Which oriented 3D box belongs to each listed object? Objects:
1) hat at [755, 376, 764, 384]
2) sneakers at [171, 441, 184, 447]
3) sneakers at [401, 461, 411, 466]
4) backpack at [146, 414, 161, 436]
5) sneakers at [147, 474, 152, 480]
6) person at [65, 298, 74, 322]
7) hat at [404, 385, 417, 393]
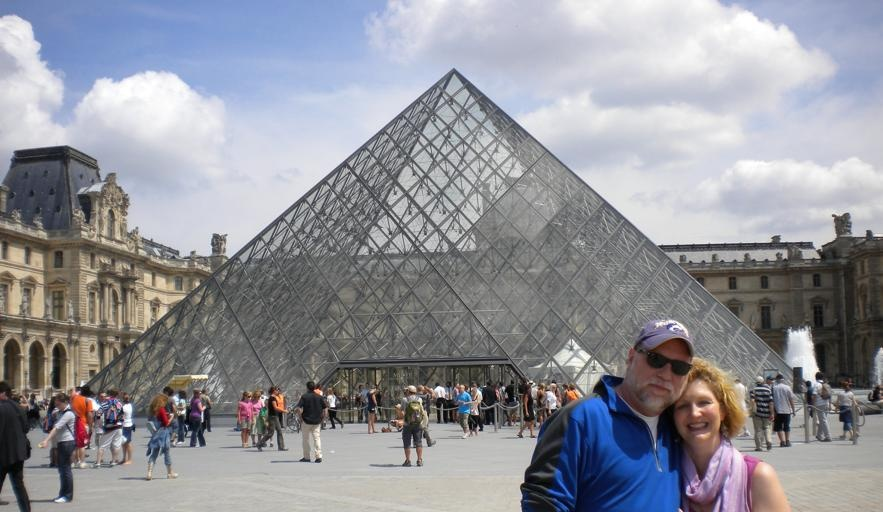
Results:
[{"bbox_3d":[14.743,5.799,55.435,0.442,0.328,0.585,1,4,17],"label":"hat"},{"bbox_3d":[-13.030,9.183,58.306,0.692,0.277,0.252,-11,-14,32],"label":"sneakers"},{"bbox_3d":[-1.649,9.141,52.609,0.350,0.204,0.200,-1,-9,34],"label":"sneakers"},{"bbox_3d":[-12.593,7.322,51.909,0.254,0.812,0.589,5,-32,-45],"label":"backpack"},{"bbox_3d":[-12.714,9.476,51.177,0.210,0.225,0.232,-1,-5,15],"label":"sneakers"},{"bbox_3d":[-32.547,4.645,103.576,0.601,2.010,0.598,2,-16,-18],"label":"person"},{"bbox_3d":[-1.475,6.052,53.974,0.404,0.368,0.494,4,7,-14],"label":"hat"}]
